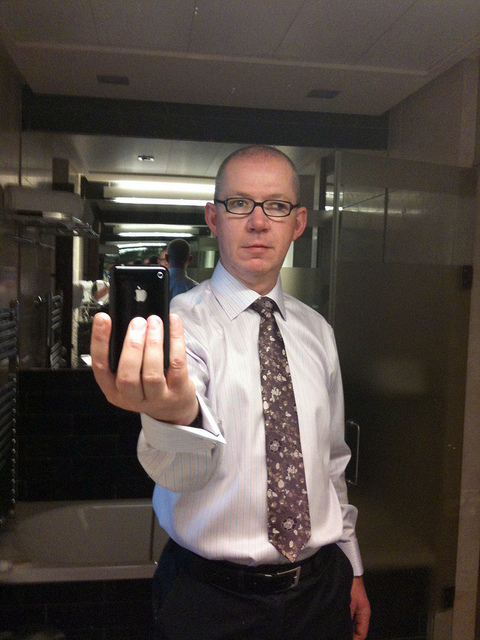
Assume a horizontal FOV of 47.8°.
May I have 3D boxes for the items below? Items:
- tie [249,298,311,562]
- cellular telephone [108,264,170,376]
[{"bbox_3d":[0.073,0.183,0.867,0.068,0.363,0.042,-11,-24,23],"label":"tie"},{"bbox_3d":[-0.115,-0.002,0.612,0.065,0.118,0.035,0,3,-16],"label":"cellular telephone"}]
